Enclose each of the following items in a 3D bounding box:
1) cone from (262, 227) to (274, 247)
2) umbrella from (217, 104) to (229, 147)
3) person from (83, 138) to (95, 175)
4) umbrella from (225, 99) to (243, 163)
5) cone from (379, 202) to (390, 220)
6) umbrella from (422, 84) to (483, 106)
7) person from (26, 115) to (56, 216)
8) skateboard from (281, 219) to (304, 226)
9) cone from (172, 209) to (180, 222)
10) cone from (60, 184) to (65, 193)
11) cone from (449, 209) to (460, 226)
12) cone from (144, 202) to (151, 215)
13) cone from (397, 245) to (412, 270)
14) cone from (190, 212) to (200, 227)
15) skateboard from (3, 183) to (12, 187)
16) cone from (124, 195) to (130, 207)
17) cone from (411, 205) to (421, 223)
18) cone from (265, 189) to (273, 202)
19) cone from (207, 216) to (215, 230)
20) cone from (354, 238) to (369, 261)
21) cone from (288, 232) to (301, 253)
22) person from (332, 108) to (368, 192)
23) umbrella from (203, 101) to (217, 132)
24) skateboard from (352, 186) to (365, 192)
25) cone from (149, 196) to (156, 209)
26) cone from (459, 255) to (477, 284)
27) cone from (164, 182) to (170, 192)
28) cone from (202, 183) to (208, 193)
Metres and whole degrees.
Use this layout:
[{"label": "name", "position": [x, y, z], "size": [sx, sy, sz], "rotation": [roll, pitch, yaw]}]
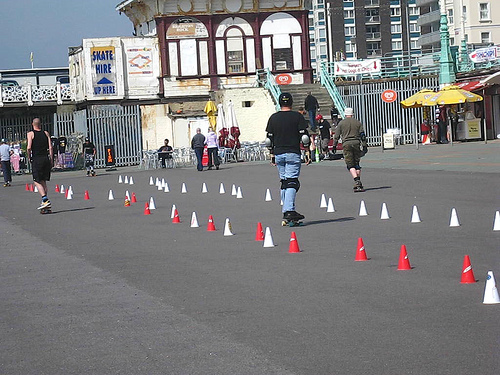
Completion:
[{"label": "cone", "position": [0.265, 0.786, 10.586], "size": [0.188, 0.304, 0.302], "rotation": [-3, 4, 1]}, {"label": "umbrella", "position": [-1.556, -3.288, 35.557], "size": [0.552, 2.293, 1.072], "rotation": [-3, 3, -3]}, {"label": "person", "position": [-7.977, -1.544, 32.661], "size": [0.488, 1.652, 1.063], "rotation": [-3, 4, -13]}, {"label": "umbrella", "position": [-0.995, -2.892, 35.698], "size": [0.766, 3.124, 0.942], "rotation": [-3, 3, -2]}, {"label": "cone", "position": [2.615, 0.453, 12.939], "size": [0.245, 0.404, 0.247], "rotation": [-2, 8, 18]}, {"label": "umbrella", "position": [10.303, -4.755, 34.285], "size": [2.671, 0.920, 1.426], "rotation": [-3, 5, 2]}, {"label": "person", "position": [-5.428, -0.577, 17.188], "size": [0.645, 2.403, 1.417], "rotation": [-4, 4, -20]}, {"label": "skateboard", "position": [0.801, 0.658, 12.567], "size": [0.454, 0.234, 0.167], "rotation": [0, -1, -16]}, {"label": "cone", "position": [-1.580, 0.621, 13.935], "size": [0.164, 0.266, 0.173], "rotation": [0, -2, -11]}, {"label": "cone", "position": [-6.912, 0.068, 24.309], "size": [0.159, 0.338, 0.163], "rotation": [-6, 9, -34]}, {"label": "cone", "position": [3.521, 0.520, 11.489], "size": [0.147, 0.282, 0.184], "rotation": [-2, 4, 18]}, {"label": "cone", "position": [-2.429, 0.511, 15.649], "size": [0.217, 0.360, 0.235], "rotation": [-4, 7, -12]}, {"label": "cone", "position": [1.983, 0.888, 8.597], "size": [0.179, 0.318, 0.310], "rotation": [-2, 4, 13]}, {"label": "cone", "position": [-1.129, 0.644, 13.308], "size": [0.185, 0.268, 0.414], "rotation": [-3, 5, -4]}, {"label": "skateboard", "position": [-10.573, -0.092, 28.776], "size": [0.229, 0.115, 0.094], "rotation": [3, 20, -7]}, {"label": "cone", "position": [-3.304, 0.404, 17.627], "size": [0.164, 0.289, 0.187], "rotation": [1, -14, -14]}, {"label": "cone", "position": [3.072, 0.472, 12.371], "size": [0.179, 0.289, 0.634], "rotation": [-2, 5, 14]}, {"label": "cone", "position": [0.453, 0.236, 17.263], "size": [0.206, 0.270, 0.207], "rotation": [-5, 5, -36]}, {"label": "cone", "position": [-0.761, 0.670, 12.564], "size": [0.186, 0.314, 0.215], "rotation": [-1, 6, 2]}, {"label": "cone", "position": [1.536, 0.866, 9.326], "size": [0.233, 0.411, 0.239], "rotation": [-2, 2, 28]}, {"label": "cone", "position": [0.654, 0.824, 9.988], "size": [0.231, 0.373, 0.237], "rotation": [-2, 5, 15]}, {"label": "person", "position": [2.701, -1.032, 18.176], "size": [0.906, 2.235, 1.550], "rotation": [-2, 4, 9]}, {"label": "umbrella", "position": [-2.225, -3.905, 36.709], "size": [0.655, 1.752, 2.741], "rotation": [-3, 5, -4]}, {"label": "skateboard", "position": [2.869, 0.035, 17.683], "size": [0.313, 0.168, 0.442], "rotation": [-2, 5, 10]}, {"label": "cone", "position": [-2.567, 0.417, 17.213], "size": [0.177, 0.272, 0.177], "rotation": [-12, 18, -39]}, {"label": "cone", "position": [2.531, 0.933, 7.752], "size": [0.189, 0.342, 0.415], "rotation": [-1, 5, 21]}, {"label": "cone", "position": [-2.711, 0.039, 21.491], "size": [0.180, 0.339, 0.174], "rotation": [-4, 6, -17]}, {"label": "cone", "position": [-1.449, 0.042, 20.516], "size": [0.202, 0.430, 0.200], "rotation": [-2, -3, -25]}]
